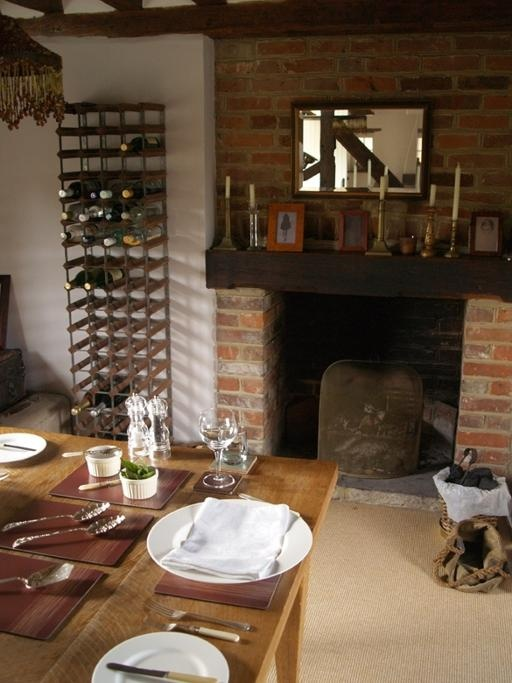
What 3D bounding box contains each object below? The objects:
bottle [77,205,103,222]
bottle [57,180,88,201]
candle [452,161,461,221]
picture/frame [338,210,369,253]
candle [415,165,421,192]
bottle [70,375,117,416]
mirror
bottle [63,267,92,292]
[{"bbox_3d":[-0.707,-0.545,2.438,0.103,0.077,0.116,-2,11,-16],"label":"bottle"},{"bbox_3d":[-0.786,-0.650,2.467,0.111,0.078,0.153,-2,11,-16],"label":"bottle"},{"bbox_3d":[0.837,-0.627,2.385,0.034,0.245,0.203,6,12,18],"label":"candle"},{"bbox_3d":[0.433,-0.492,2.548,0.124,0.188,0.069,5,12,18],"label":"picture/frame"},{"bbox_3d":[0.703,-0.706,2.483,0.026,0.114,0.013,6,13,20],"label":"candle"},{"bbox_3d":[-0.769,0.257,2.730,0.121,0.112,0.441,18,11,4],"label":"bottle"},{"bbox_3d":[0.477,-0.859,2.499,0.560,0.336,0.042,3,19,12],"label":"mirror"},{"bbox_3d":[-0.822,-0.290,2.638,0.050,0.046,0.157,-15,17,16],"label":"bottle"}]
